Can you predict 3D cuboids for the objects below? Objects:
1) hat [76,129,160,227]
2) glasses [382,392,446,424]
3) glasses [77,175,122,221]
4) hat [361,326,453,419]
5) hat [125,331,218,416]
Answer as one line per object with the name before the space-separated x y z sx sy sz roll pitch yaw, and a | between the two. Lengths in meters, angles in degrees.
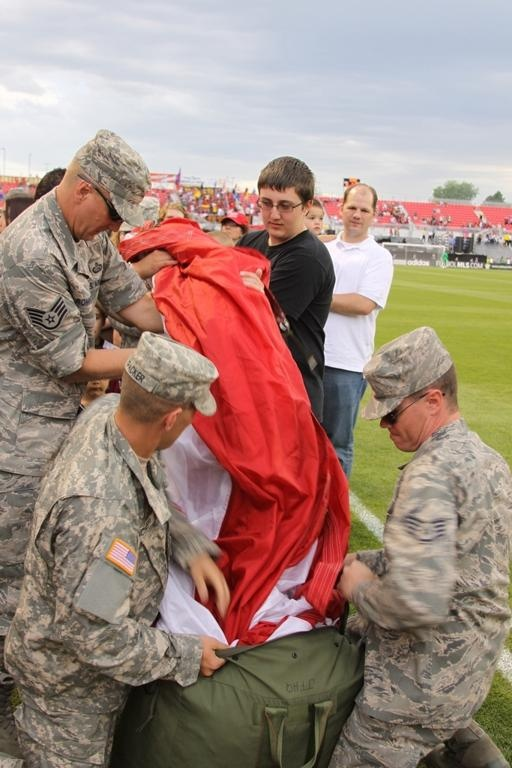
hat | -0.460 -0.685 2.053 0.254 0.316 0.198 -1 10 -23
glasses | 0.526 0.080 2.116 0.141 0.039 0.134 -21 -8 -20
glasses | -0.510 -0.613 2.066 0.037 0.121 0.123 -38 -14 2
hat | 0.485 -0.063 2.137 0.355 0.180 0.245 -33 20 12
hat | -0.216 -0.021 1.682 0.260 0.229 0.179 -2 10 -24
